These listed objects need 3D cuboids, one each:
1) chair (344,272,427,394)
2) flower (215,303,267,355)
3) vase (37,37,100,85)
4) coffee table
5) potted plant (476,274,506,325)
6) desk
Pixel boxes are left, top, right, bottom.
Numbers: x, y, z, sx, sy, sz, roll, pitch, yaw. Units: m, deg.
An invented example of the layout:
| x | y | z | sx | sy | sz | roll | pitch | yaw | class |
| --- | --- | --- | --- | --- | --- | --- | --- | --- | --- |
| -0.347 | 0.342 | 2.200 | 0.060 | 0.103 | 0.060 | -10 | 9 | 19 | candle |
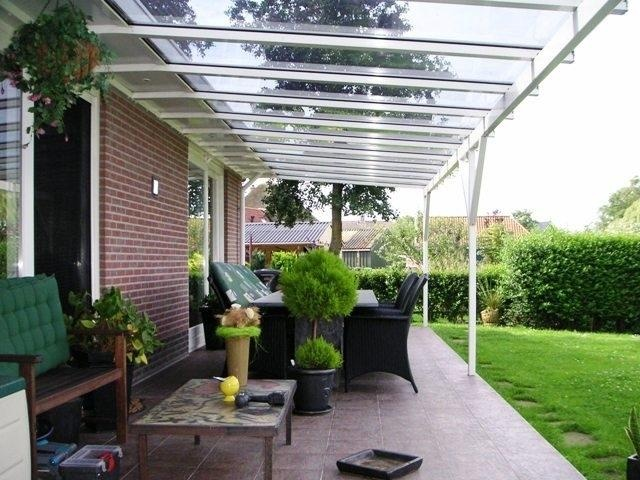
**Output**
| x | y | z | sx | sy | sz | roll | pitch | yaw | class |
| --- | --- | --- | --- | --- | --- | --- | --- | --- | --- |
| 0.813 | 1.123 | 6.418 | 1.063 | 1.688 | 1.236 | 1 | -7 | 1 | chair |
| -0.651 | 0.686 | 4.129 | 0.298 | 0.253 | 0.321 | 5 | -8 | -29 | flower |
| -1.768 | -1.230 | 3.585 | 0.284 | 0.245 | 0.280 | 2 | 7 | 33 | vase |
| -0.716 | 1.347 | 3.716 | 0.965 | 0.513 | 0.963 | 2 | -3 | 7 | coffee table |
| 4.239 | 1.491 | 12.573 | 0.581 | 1.157 | 0.900 | 1 | -3 | 14 | potted plant |
| -0.297 | 1.117 | 6.035 | 1.485 | 0.836 | 1.026 | 0 | -3 | 2 | desk |
